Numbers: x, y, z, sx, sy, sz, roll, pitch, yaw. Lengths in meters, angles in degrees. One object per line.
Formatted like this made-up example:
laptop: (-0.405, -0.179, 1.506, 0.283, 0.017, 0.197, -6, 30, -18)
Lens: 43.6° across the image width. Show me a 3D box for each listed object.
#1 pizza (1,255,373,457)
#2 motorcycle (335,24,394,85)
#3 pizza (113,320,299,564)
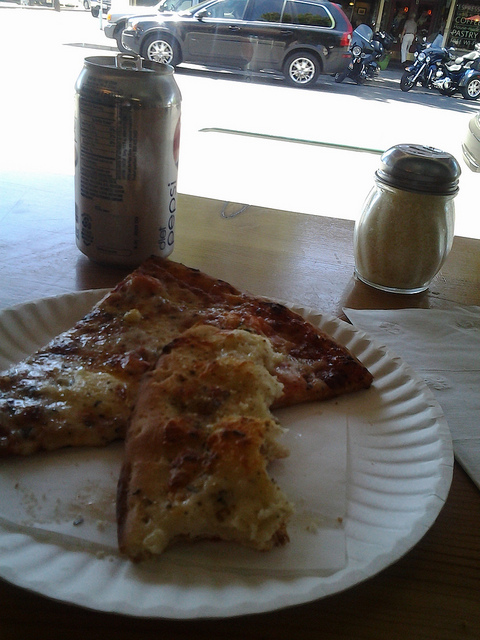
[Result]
pizza: (-0.100, 0.033, 0.664, 0.230, 0.029, 0.281, 31, 29, 33)
motorcycle: (1.160, -2.497, 5.672, 0.372, 0.518, 1.010, 17, 27, 16)
pizza: (-0.016, 0.115, 0.515, 0.158, 0.051, 0.258, -3, 33, 1)
